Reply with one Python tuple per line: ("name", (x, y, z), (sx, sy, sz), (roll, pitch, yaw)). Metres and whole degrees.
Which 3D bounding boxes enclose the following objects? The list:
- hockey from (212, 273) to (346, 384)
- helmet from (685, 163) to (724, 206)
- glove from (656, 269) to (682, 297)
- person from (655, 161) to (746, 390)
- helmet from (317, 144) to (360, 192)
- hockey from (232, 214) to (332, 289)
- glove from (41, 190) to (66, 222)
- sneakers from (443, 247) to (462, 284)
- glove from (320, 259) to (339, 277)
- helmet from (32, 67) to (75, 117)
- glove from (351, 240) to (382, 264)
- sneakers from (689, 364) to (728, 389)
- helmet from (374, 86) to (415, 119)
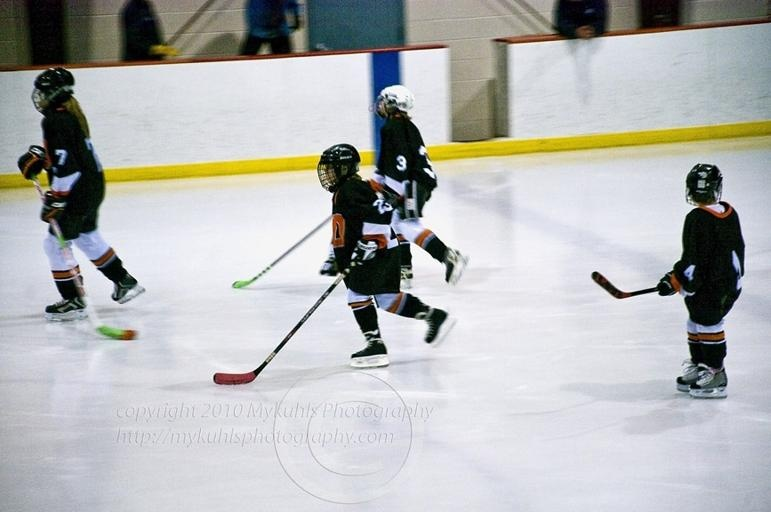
("hockey", (-0.701, 0.501, 6.266), (0.117, 0.142, 0.791), (28, 71, 43))
("helmet", (1.755, -0.390, 5.254), (0.178, 0.233, 0.194), (1, 14, 14))
("glove", (1.534, 0.159, 5.210), (0.061, 0.098, 0.146), (11, -22, -26))
("person", (1.739, 0.159, 5.250), (0.331, 1.311, 0.363), (8, 19, 35))
("helmet", (-0.289, -0.526, 5.808), (0.289, 0.239, 0.209), (-9, 0, -22))
("hockey", (-0.827, -0.018, 7.611), (1.121, 0.216, 0.122), (-29, 13, -9))
("glove", (-2.231, -0.339, 6.405), (0.182, 0.186, 0.139), (19, 12, -7))
("sneakers", (0.442, 0.055, 6.531), (0.110, 0.220, 0.126), (4, 38, 8))
("glove", (-0.336, 0.073, 6.032), (0.128, 0.102, 0.098), (-4, -6, 41))
("helmet", (-2.239, -1.120, 6.416), (0.260, 0.299, 0.230), (-7, 15, -17))
("glove", (-0.126, -0.034, 5.742), (0.177, 0.141, 0.124), (9, 15, 7))
("sneakers", (1.760, 0.681, 5.318), (0.267, 0.145, 0.083), (-1, 5, 4))
("helmet", (0.049, -1.058, 6.648), (0.284, 0.191, 0.195), (-2, 5, -9))
